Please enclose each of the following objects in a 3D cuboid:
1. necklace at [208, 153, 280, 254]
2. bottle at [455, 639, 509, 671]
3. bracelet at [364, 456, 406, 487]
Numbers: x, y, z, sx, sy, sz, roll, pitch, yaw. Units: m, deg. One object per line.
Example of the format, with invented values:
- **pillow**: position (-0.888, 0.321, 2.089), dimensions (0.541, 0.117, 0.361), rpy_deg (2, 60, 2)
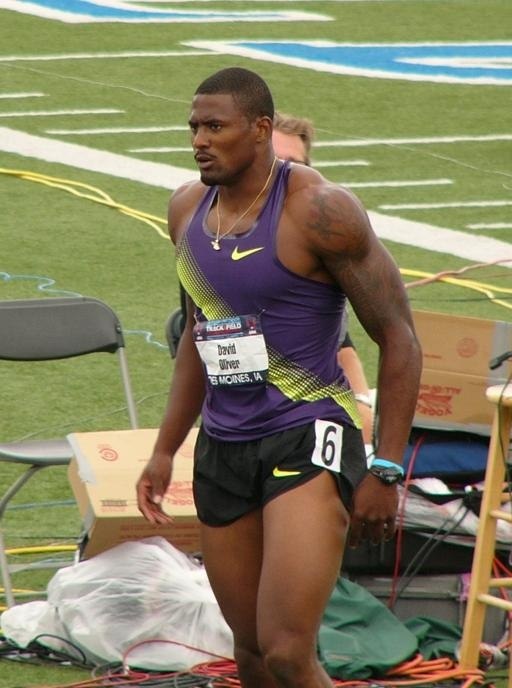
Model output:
- **necklace**: position (-0.004, -0.285, 1.960), dimensions (0.062, 0.210, 0.132), rpy_deg (35, -11, -28)
- **bottle**: position (0.632, 0.920, 2.776), dimensions (0.185, 0.072, 0.063), rpy_deg (-4, -2, -7)
- **bracelet**: position (0.239, 0.243, 1.813), dimensions (0.067, 0.031, 0.058), rpy_deg (21, -8, 31)
